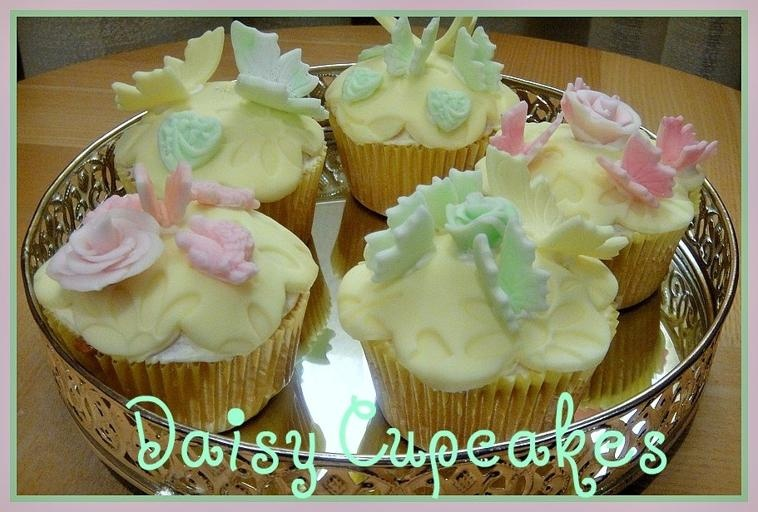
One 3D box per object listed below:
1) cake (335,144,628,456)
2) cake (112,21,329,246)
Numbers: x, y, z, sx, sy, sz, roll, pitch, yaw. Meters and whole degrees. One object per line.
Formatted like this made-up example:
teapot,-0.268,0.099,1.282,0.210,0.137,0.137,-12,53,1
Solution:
cake,0.308,0.141,2.034,0.845,0.707,0.797,-21,41,-22
cake,-0.578,-0.381,2.486,0.799,0.718,0.721,2,48,-2
